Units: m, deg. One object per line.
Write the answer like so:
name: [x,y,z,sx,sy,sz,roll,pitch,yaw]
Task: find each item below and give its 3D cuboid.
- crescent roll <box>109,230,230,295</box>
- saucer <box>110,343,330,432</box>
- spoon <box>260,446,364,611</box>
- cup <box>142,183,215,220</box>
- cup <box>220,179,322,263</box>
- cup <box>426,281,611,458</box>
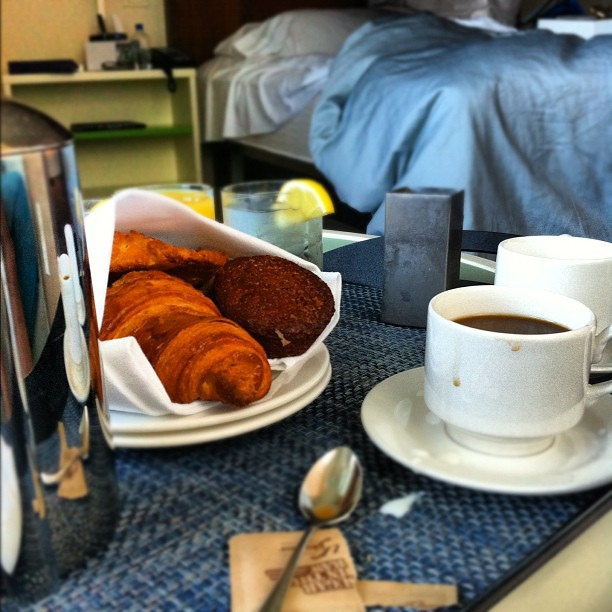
crescent roll: [-0.098,-0.033,0.383,0.083,0.021,0.074,6,-10,-29]
saucer: [-0.047,0.035,0.308,0.081,0.031,0.063,-9,17,-29]
spoon: [0.003,0.095,0.240,0.017,0.010,0.081,-12,17,23]
cup: [-0.111,-0.094,0.490,0.055,0.055,0.055,1,6,0]
cup: [-0.038,-0.073,0.608,0.093,0.097,0.095,-21,14,5]
cup: [0.113,0.035,0.307,0.096,0.075,0.086,-15,28,-23]
